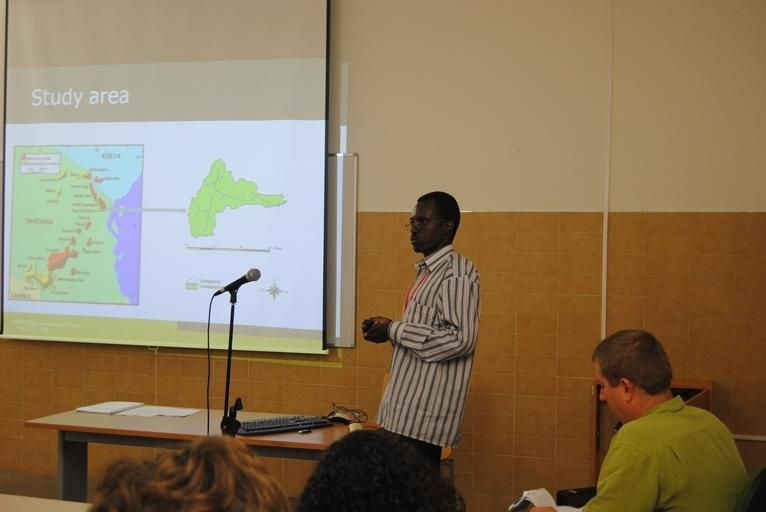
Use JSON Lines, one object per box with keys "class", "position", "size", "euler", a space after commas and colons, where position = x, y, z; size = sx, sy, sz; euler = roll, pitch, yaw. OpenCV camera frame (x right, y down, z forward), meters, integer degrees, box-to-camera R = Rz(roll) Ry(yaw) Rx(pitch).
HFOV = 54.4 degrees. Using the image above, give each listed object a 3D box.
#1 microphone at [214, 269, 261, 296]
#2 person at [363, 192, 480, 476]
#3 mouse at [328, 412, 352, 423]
{"class": "microphone", "position": [-0.903, 0.156, 4.670], "size": [0.217, 0.151, 0.626], "euler": [2, -4, -12]}
{"class": "person", "position": [0.243, 0.417, 4.391], "size": [0.621, 1.607, 0.256], "euler": [1, -3, 8]}
{"class": "mouse", "position": [-0.268, 1.019, 4.760], "size": [0.114, 0.036, 0.067], "euler": [6, 1, 11]}
